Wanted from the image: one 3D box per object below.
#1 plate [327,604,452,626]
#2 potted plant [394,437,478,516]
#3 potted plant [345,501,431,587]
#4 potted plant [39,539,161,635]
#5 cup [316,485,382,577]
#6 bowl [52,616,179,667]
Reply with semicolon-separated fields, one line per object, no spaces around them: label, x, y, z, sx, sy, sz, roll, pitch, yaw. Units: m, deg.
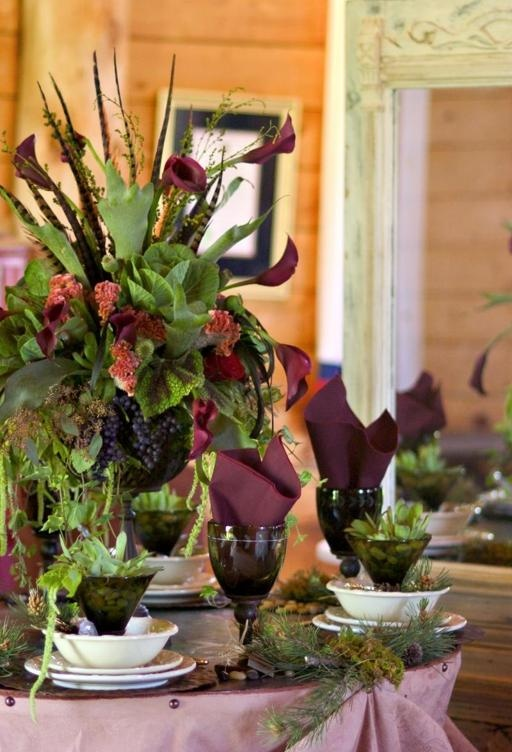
plate;0.144;0.287;0.872;0.075;0.013;0.070;6;-10;-26
potted plant;0.549;0.285;2.082;0.261;0.159;0.253;3;-4;-5
potted plant;0.169;0.211;0.902;0.110;0.091;0.102;3;-8;-17
potted plant;-0.145;0.210;0.724;0.104;0.071;0.100;-3;-16;12
cup;0.135;0.227;1.063;0.098;0.125;0.095;2;-8;0
bowl;-0.129;0.253;0.682;0.115;0.041;0.105;-2;-8;0
